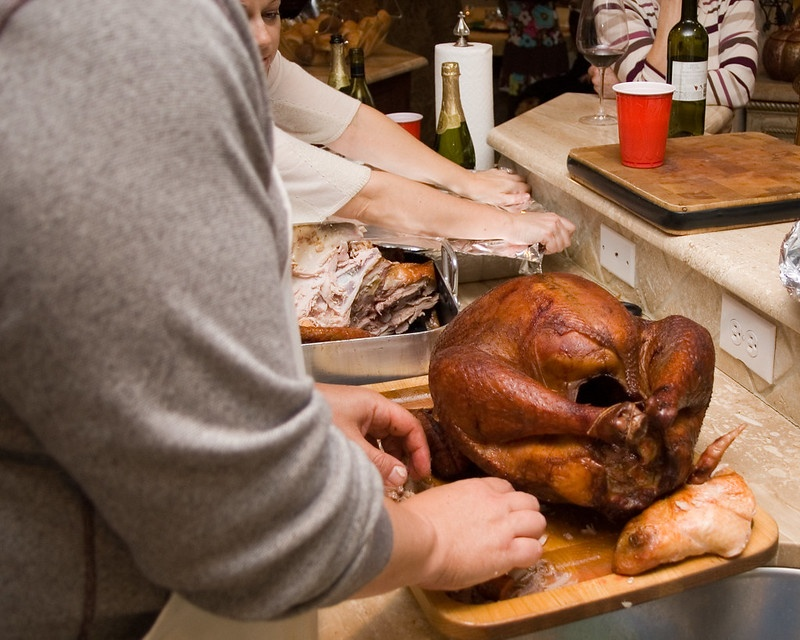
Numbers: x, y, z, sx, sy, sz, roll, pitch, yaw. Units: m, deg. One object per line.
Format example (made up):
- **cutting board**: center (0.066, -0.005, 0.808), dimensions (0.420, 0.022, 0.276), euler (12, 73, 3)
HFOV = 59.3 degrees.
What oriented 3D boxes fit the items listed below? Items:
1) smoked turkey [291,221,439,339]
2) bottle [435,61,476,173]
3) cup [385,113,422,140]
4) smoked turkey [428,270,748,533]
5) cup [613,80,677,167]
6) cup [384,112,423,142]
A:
- **smoked turkey**: center (-0.069, -0.069, 1.296), dimensions (0.238, 0.106, 0.188), euler (-1, 39, -14)
- **bottle**: center (0.139, -0.491, 1.914), dimensions (0.112, 0.396, 0.112), euler (-3, 29, 1)
- **cup**: center (0.010, -0.541, 1.983), dimensions (0.104, 0.106, 0.107), euler (-1, 29, 0)
- **smoked turkey**: center (0.195, 0.038, 0.785), dimensions (0.257, 0.190, 0.332), euler (-4, 15, -5)
- **cup**: center (0.463, -0.365, 1.326), dimensions (0.112, 0.142, 0.117), euler (-5, 19, 2)
- **cup**: center (0.010, -0.539, 1.985), dimensions (0.111, 0.115, 0.114), euler (-1, 28, 1)
